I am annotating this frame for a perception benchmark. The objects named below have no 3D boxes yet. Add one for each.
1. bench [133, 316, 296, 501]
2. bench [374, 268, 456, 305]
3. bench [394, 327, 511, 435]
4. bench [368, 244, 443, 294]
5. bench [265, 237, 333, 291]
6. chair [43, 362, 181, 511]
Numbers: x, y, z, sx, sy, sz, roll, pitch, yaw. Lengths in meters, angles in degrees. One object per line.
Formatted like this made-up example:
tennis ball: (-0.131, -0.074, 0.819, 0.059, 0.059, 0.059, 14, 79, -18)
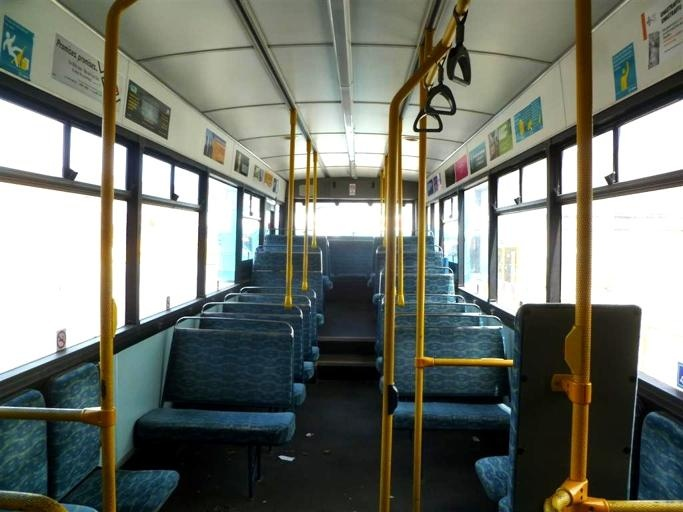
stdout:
bench: (-0.786, 1.157, 4.151, 1.220, 1.510, 1.085, 1, -14, 0)
bench: (0.987, 0.357, 5.797, 0.719, 0.341, 0.541, -1, 16, 1)
bench: (0.866, 0.975, 4.052, 0.874, 0.960, 0.669, 1, -9, 3)
bench: (0.976, 0.087, 6.889, 0.900, 0.705, 0.679, 1, 2, 0)
bench: (-0.580, 0.111, 6.556, 0.663, 0.761, 0.513, 0, -9, 7)
chair: (-1.434, 1.266, 3.524, 0.752, 1.082, 0.953, 2, 0, -1)
